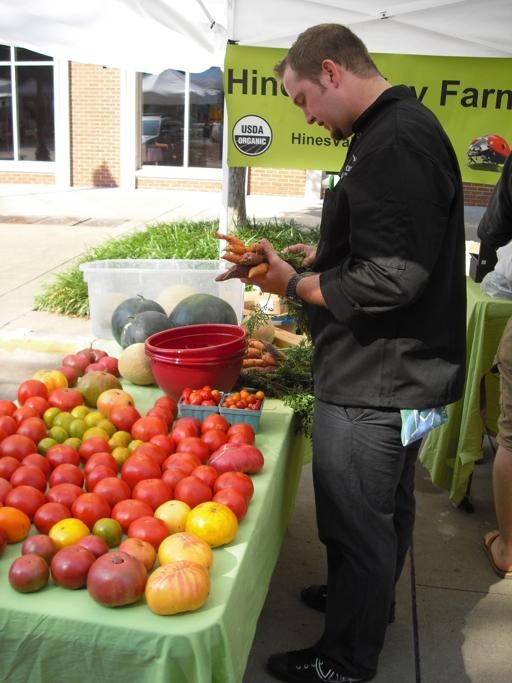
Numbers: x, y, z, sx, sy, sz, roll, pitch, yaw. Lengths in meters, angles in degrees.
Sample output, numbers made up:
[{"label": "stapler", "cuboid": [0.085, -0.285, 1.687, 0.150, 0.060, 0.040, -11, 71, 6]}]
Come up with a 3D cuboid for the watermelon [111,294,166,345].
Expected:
[{"label": "watermelon", "cuboid": [-0.626, -0.156, 2.773, 0.269, 0.270, 0.258, 4, 20, 6]}]

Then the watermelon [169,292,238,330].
[{"label": "watermelon", "cuboid": [-0.264, -0.176, 2.639, 0.299, 0.165, 0.226, -8, 21, -26]}]

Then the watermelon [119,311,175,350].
[{"label": "watermelon", "cuboid": [-0.536, -0.063, 2.651, 0.237, 0.177, 0.205, 3, 20, 9]}]

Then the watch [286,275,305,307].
[{"label": "watch", "cuboid": [0.122, -0.160, 1.688, 0.034, 0.083, 0.077, 12, -2, 22]}]

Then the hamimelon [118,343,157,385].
[{"label": "hamimelon", "cuboid": [-0.522, 0.104, 2.376, 0.147, 0.121, 0.127, 31, -5, -39]}]
